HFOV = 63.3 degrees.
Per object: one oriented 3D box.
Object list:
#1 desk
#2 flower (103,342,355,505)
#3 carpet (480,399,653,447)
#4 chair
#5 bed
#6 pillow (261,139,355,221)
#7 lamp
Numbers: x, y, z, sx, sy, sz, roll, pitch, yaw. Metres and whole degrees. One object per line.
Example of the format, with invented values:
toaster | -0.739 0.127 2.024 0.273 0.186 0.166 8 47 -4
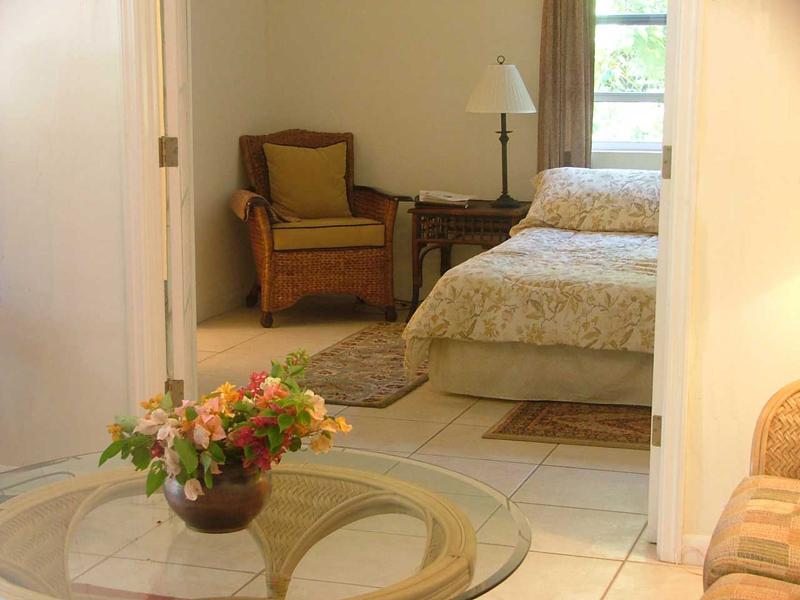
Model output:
desk | 0.501 -0.337 5.378 1.217 0.997 0.895 2 13 10
flower | -0.318 0.211 1.080 0.344 0.147 0.234 -14 18 -21
carpet | 0.839 0.592 3.185 0.790 0.091 0.510 3 5 11
chair | -0.656 -0.580 5.097 1.323 1.270 0.912 -2 18 -18
bed | 0.981 -0.051 3.823 1.528 0.453 1.243 -34 22 -31
pillow | -0.743 -0.934 5.121 0.807 0.669 0.273 -3 -1 -16
lamp | 0.777 -1.317 4.990 0.507 1.210 0.518 3 6 10
